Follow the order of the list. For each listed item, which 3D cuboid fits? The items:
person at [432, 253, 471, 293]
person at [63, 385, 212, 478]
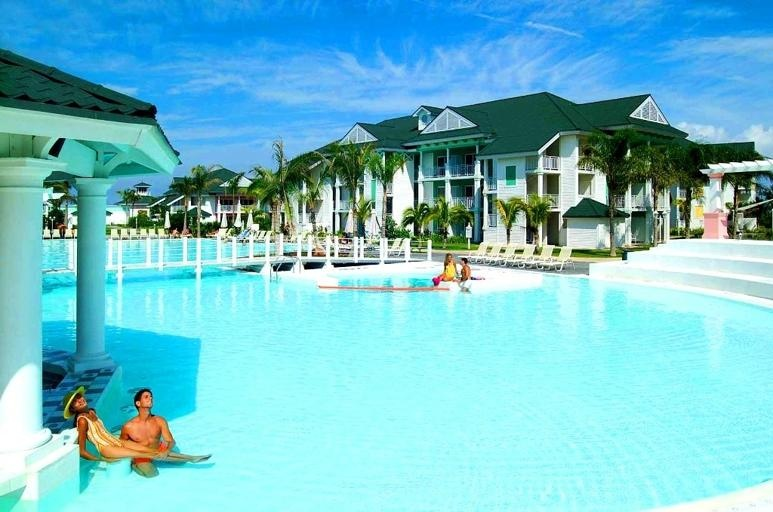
[{"bbox_3d":[2.455,0.578,21.819,1.349,1.322,1.022,4,10,27],"label":"person"},{"bbox_3d":[-3.431,2.343,8.164,1.991,0.972,0.904,4,8,3],"label":"person"}]
